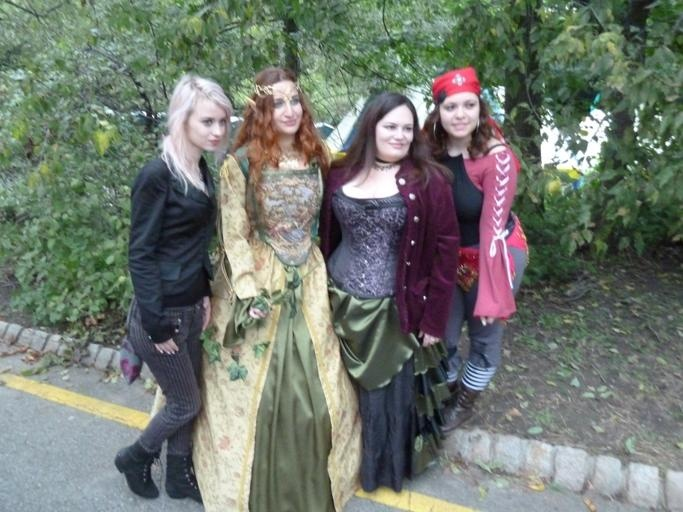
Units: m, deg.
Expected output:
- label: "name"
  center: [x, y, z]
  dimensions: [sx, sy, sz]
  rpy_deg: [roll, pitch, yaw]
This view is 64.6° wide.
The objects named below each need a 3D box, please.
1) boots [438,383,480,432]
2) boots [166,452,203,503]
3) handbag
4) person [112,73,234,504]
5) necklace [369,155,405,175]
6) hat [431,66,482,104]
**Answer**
- label: "boots"
  center: [0.889, 1.153, 4.071]
  dimensions: [0.289, 0.301, 0.165]
  rpy_deg: [-20, 59, -23]
- label: "boots"
  center: [-1.094, 1.580, 3.796]
  dimensions: [0.326, 0.157, 0.340]
  rpy_deg: [22, 44, -34]
- label: "handbag"
  center: [1.080, 0.017, 3.762]
  dimensions: [0.297, 0.215, 0.293]
  rpy_deg: [-34, 19, 26]
- label: "person"
  center: [-1.068, 0.279, 3.542]
  dimensions: [0.845, 2.815, 0.358]
  rpy_deg: [-8, 14, -30]
- label: "necklace"
  center: [0.314, -0.615, 3.611]
  dimensions: [0.205, 0.092, 0.047]
  rpy_deg: [-4, 13, -11]
- label: "hat"
  center: [0.852, -1.181, 3.770]
  dimensions: [0.234, 0.214, 0.294]
  rpy_deg: [-21, -2, 20]
